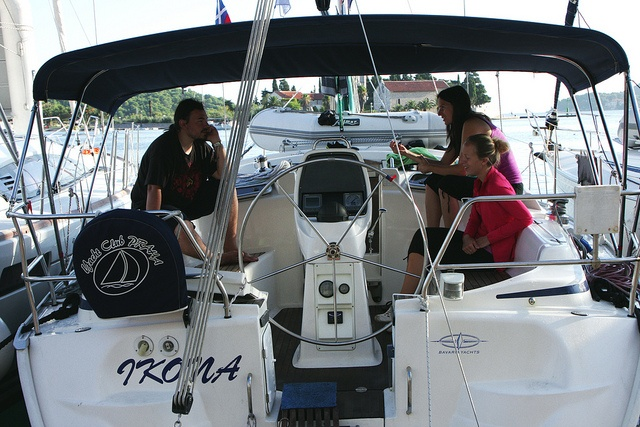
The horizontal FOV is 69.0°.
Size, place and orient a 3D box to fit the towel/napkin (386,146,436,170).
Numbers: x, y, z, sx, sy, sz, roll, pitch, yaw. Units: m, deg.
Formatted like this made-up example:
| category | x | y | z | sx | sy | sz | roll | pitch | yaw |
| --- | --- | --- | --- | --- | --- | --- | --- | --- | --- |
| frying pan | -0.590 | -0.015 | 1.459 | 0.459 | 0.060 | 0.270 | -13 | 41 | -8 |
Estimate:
| category | x | y | z | sx | sy | sz | roll | pitch | yaw |
| --- | --- | --- | --- | --- | --- | --- | --- | --- | --- |
| towel/napkin | 0.912 | -0.568 | 4.628 | 0.408 | 0.152 | 0.427 | 4 | 12 | 19 |

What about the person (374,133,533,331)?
| category | x | y | z | sx | sy | sz | roll | pitch | yaw |
| --- | --- | --- | --- | --- | --- | --- | --- | --- | --- |
| person | 0.970 | -0.003 | 3.102 | 0.783 | 1.053 | 0.469 | 0 | 0 | 13 |

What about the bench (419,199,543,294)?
| category | x | y | z | sx | sy | sz | roll | pitch | yaw |
| --- | --- | --- | --- | --- | --- | --- | --- | --- | --- |
| bench | 1.069 | 0.100 | 3.258 | 0.795 | 0.818 | 0.226 | 1 | -28 | 27 |

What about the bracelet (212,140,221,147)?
| category | x | y | z | sx | sy | sz | roll | pitch | yaw |
| --- | --- | --- | --- | --- | --- | --- | --- | --- | --- |
| bracelet | -0.830 | -0.568 | 3.719 | 0.052 | 0.060 | 0.038 | 0 | 6 | 2 |
